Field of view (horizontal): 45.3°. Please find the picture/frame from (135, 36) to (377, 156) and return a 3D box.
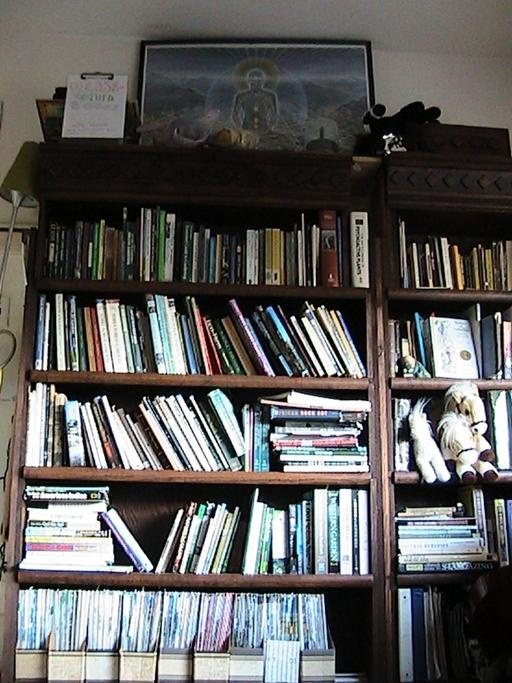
[{"bbox_3d":[-0.018,-0.905,2.287,0.627,0.370,0.025,0,-15,1],"label":"picture/frame"}]
